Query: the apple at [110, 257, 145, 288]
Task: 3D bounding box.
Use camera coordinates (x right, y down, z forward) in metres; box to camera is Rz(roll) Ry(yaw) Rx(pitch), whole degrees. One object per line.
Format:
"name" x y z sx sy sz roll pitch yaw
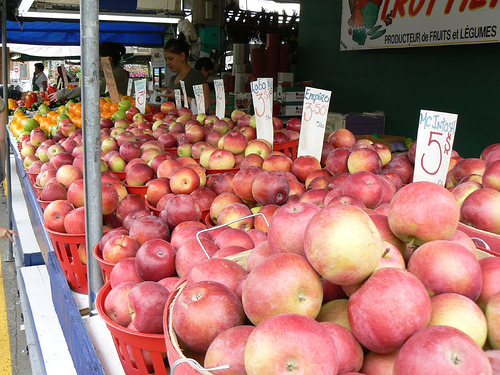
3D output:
"apple" -0.460 0.318 1.379 0.096 0.133 0.101 5 7 32

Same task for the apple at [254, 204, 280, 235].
"apple" 0.081 0.149 1.639 0.098 0.135 0.108 -2 12 13

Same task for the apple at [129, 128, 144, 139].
"apple" -1.016 -0.493 3.204 0.071 0.090 0.085 0 -21 -7

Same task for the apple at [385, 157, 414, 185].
"apple" 0.900 -0.093 2.189 0.132 0.184 0.146 -9 -5 -2

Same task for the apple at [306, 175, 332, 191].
"apple" 0.387 -0.029 1.958 0.079 0.107 0.089 10 17 2

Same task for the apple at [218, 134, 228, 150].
"apple" -0.209 -0.342 2.681 0.089 0.124 0.096 3 10 -10

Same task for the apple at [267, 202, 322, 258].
"apple" 0.128 0.099 1.018 0.133 0.157 0.141 1 9 9

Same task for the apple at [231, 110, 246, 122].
"apple" -0.114 -0.690 3.410 0.105 0.115 0.117 7 46 -5

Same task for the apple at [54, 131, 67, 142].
"apple" -1.858 -0.492 3.461 0.160 0.082 0.112 9 18 24

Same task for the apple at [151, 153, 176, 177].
"apple" -0.585 -0.150 2.390 0.125 0.148 0.133 0 7 -12

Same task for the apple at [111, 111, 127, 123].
"apple" -1.450 -0.791 4.020 0.118 0.141 0.157 0 32 10

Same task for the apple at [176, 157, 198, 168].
"apple" -0.436 -0.178 2.458 0.087 0.122 0.097 3 4 19

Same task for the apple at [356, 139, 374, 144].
"apple" 0.775 -0.310 2.423 0.072 0.057 0.094 -1 7 4

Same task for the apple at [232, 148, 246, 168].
"apple" -0.076 -0.196 2.564 0.092 0.126 0.100 4 5 0

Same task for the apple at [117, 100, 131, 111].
"apple" -1.461 -0.929 4.153 0.113 0.124 0.117 -14 -16 38

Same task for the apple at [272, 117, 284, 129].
"apple" 0.238 -0.540 3.063 0.088 0.112 0.102 1 4 2

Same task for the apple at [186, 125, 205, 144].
"apple" -0.445 -0.426 2.965 0.126 0.149 0.137 8 19 22

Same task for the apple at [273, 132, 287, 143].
"apple" 0.236 -0.388 2.828 0.089 0.100 0.095 -1 41 -8

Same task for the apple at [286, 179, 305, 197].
"apple" 0.250 0.007 1.968 0.088 0.058 0.077 6 0 0

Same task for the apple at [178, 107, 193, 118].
"apple" -0.663 -0.771 3.671 0.122 0.142 0.131 10 24 15

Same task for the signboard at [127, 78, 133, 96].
"signboard" -1.913 -1.585 5.709 0.053 0.232 2.344 -4 18 -16

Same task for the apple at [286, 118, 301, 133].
"apple" 0.385 -0.549 3.140 0.115 0.125 0.131 1 48 0

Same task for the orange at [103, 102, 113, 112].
"orange" -1.780 -0.984 4.473 0.102 0.111 0.100 -2 -7 -38

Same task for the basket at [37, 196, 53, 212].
"basket" -1.216 0.094 2.111 0.087 0.077 0.095 4 7 5

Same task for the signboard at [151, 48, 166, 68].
"signboard" -2.467 -3.475 9.599 0.328 0.520 1.229 -3 17 -15

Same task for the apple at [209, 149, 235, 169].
"apple" -0.185 -0.199 2.412 0.121 0.140 0.126 -8 15 -18

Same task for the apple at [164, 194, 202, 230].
"apple" -0.329 0.157 1.713 0.167 0.213 0.175 -6 -17 7

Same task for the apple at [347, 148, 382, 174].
"apple" 0.633 -0.143 1.960 0.137 0.162 0.145 1 4 6

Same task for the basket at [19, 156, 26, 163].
"basket" -2.038 -0.246 3.200 0.056 0.068 0.061 0 -2 12

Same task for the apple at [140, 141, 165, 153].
"apple" -0.738 -0.313 2.693 0.102 0.117 0.103 0 7 4

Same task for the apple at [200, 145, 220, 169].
"apple" -0.289 -0.227 2.536 0.137 0.165 0.147 -2 14 -10

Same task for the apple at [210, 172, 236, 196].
"apple" -0.156 -0.017 2.063 0.111 0.136 0.117 -3 -3 0

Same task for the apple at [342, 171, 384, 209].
"apple" 0.494 0.007 1.638 0.145 0.171 0.163 10 27 -6

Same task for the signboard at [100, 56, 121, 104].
"signboard" -1.865 -1.450 4.780 0.191 0.589 1.171 -5 18 -20

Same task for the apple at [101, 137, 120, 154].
"apple" -1.126 -0.331 2.927 0.115 0.137 0.117 6 17 20

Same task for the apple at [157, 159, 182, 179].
"apple" -0.517 -0.114 2.303 0.127 0.150 0.129 -2 -3 4

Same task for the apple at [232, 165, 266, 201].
"apple" -0.021 -0.031 1.977 0.153 0.161 0.172 -13 -28 -24

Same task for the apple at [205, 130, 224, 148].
"apple" -0.296 -0.396 2.924 0.120 0.143 0.126 4 4 19

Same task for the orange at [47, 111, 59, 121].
"orange" -2.467 -0.902 4.465 0.116 0.128 0.118 -3 -5 -31

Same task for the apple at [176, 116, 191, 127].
"apple" -0.628 -0.636 3.421 0.107 0.150 0.120 10 13 33

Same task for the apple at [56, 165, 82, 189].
"apple" -1.104 -0.079 2.194 0.142 0.144 0.127 -1 17 -20

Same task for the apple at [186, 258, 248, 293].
"apple" -0.098 0.240 1.016 0.111 0.117 0.106 6 -14 11

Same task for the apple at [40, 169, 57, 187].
"apple" -1.322 -0.070 2.332 0.097 0.110 0.098 -19 14 -19

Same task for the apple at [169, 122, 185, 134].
"apple" -0.649 -0.527 3.161 0.100 0.109 0.110 11 -33 0

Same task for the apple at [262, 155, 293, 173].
"apple" 0.181 -0.166 2.216 0.115 0.127 0.117 -5 13 -38

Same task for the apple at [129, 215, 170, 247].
"apple" -0.431 0.166 1.566 0.122 0.143 0.127 2 14 39

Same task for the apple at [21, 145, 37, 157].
"apple" -1.914 -0.313 3.098 0.064 0.080 0.070 23 53 -10

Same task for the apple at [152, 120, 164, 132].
"apple" -0.872 -0.578 3.382 0.088 0.096 0.094 -5 10 -7

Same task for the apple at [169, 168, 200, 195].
"apple" -0.366 -0.030 2.017 0.130 0.156 0.141 -3 -7 -3

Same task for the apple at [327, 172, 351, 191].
"apple" 0.466 -0.015 1.905 0.091 0.121 0.092 16 -28 -30

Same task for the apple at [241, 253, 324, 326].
"apple" 0.084 0.273 0.918 0.158 0.171 0.165 18 53 39
